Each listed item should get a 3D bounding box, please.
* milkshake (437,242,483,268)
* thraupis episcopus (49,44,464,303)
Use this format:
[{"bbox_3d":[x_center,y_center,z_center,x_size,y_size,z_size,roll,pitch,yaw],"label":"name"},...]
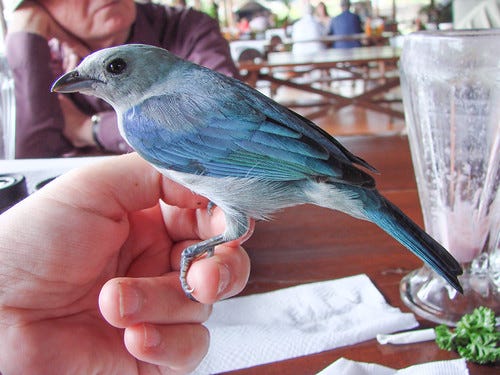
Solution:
[{"bbox_3d":[0.528,0.158,1.217,0.072,0.053,0.076,-4,5,2],"label":"milkshake"},{"bbox_3d":[0.016,-0.057,1.245,0.973,0.531,0.321,4,9,12],"label":"thraupis episcopus"}]
